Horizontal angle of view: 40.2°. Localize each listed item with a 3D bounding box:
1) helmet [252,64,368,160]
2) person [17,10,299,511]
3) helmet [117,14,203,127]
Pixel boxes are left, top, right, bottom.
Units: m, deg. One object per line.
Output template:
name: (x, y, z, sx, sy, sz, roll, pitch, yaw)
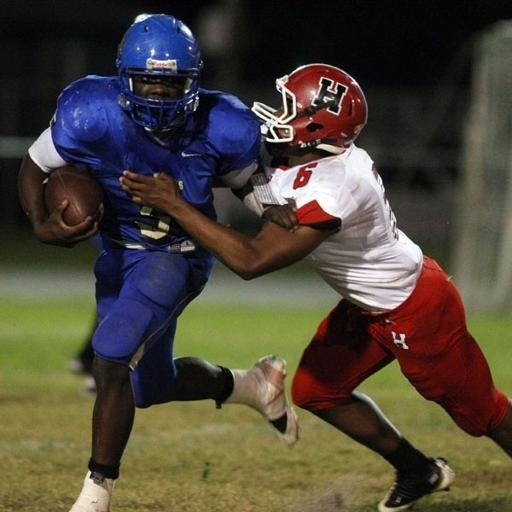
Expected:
helmet: (0.161, -0.564, 2.756, 0.515, 0.250, 0.324, -1, 14, -30)
person: (-0.409, 0.001, 2.647, 0.666, 1.799, 1.157, 4, 11, 34)
helmet: (-0.325, -0.643, 2.434, 0.280, 0.419, 0.227, -2, 9, -3)
